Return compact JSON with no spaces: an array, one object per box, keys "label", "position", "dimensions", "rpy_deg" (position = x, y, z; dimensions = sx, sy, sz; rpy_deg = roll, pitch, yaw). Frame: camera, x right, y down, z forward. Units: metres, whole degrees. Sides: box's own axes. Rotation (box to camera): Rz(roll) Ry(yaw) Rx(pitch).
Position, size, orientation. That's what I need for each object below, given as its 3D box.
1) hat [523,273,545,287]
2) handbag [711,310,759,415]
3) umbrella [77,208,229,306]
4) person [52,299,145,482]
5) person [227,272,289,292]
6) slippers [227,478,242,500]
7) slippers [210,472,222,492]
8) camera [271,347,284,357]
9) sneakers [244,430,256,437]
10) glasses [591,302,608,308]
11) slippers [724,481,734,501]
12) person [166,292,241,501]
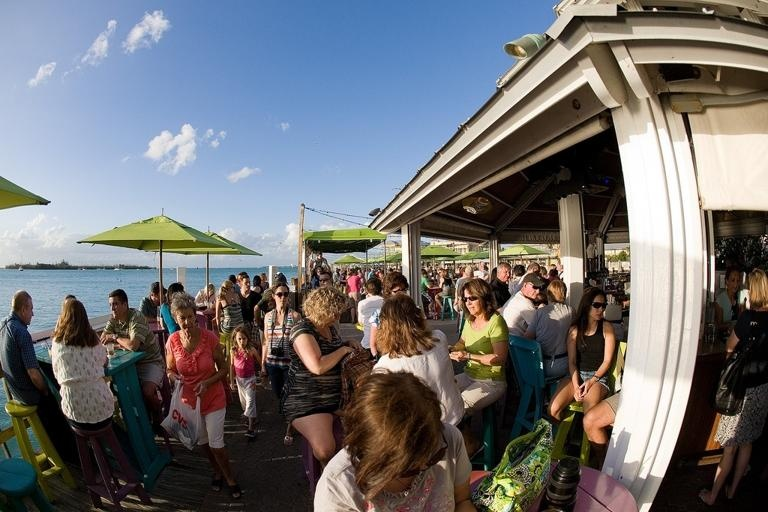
[{"label":"hat","position":[2.078,0.344,6.139],"dimensions":[0.277,0.172,0.187],"rpy_deg":[-4,-6,28]},{"label":"handbag","position":[3.272,1.020,4.043],"dimensions":[0.469,0.837,0.129],"rpy_deg":[-5,5,-16]},{"label":"umbrella","position":[-3.981,-0.023,7.631],"dimensions":[1.754,1.450,1.940],"rpy_deg":[4,14,22]},{"label":"person","position":[-3.119,1.169,4.525],"dimensions":[0.491,1.451,0.319],"rpy_deg":[-6,6,-32]},{"label":"person","position":[-3.175,0.650,11.072],"dimensions":[1.394,0.348,0.758],"rpy_deg":[-2,3,-31]},{"label":"slippers","position":[-1.640,2.596,4.860],"dimensions":[0.088,0.068,0.248],"rpy_deg":[10,-11,-23]},{"label":"slippers","position":[-1.907,2.585,5.022],"dimensions":[0.078,0.056,0.224],"rpy_deg":[-3,6,-15]},{"label":"camera","position":[-1.443,1.306,5.971],"dimensions":[0.160,0.116,0.118],"rpy_deg":[-2,-9,17]},{"label":"sneakers","position":[-1.850,2.465,6.077],"dimensions":[0.155,0.070,0.063],"rpy_deg":[-13,-27,37]},{"label":"glasses","position":[2.468,0.561,5.025],"dimensions":[0.179,0.073,0.089],"rpy_deg":[-5,5,-13]},{"label":"slippers","position":[3.416,2.327,4.360],"dimensions":[0.052,0.165,0.063],"rpy_deg":[3,-18,28]},{"label":"person","position":[-2.000,1.541,5.003],"dimensions":[0.846,2.234,0.407],"rpy_deg":[-1,6,26]}]
